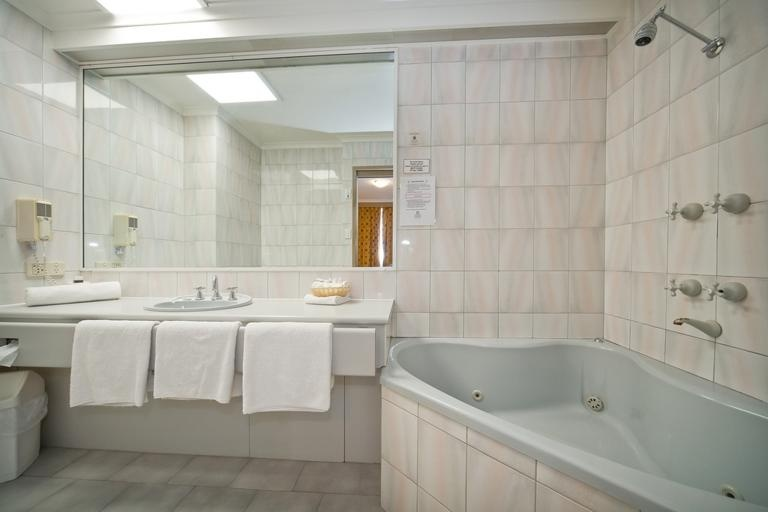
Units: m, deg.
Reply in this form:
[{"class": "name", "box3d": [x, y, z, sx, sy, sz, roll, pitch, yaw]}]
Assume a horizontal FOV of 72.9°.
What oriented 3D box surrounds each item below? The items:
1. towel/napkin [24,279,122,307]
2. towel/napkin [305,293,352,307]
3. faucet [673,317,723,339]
[{"class": "towel/napkin", "box3d": [-2.175, 0.261, 3.674, 0.582, 0.144, 0.149, -2, 1, -34]}, {"class": "towel/napkin", "box3d": [-0.397, 0.311, 3.722, 0.336, 0.069, 0.184, -2, 1, -6]}, {"class": "faucet", "box3d": [1.843, 0.431, 3.090, 0.276, 0.126, 0.117, -2, 1, -8]}]
